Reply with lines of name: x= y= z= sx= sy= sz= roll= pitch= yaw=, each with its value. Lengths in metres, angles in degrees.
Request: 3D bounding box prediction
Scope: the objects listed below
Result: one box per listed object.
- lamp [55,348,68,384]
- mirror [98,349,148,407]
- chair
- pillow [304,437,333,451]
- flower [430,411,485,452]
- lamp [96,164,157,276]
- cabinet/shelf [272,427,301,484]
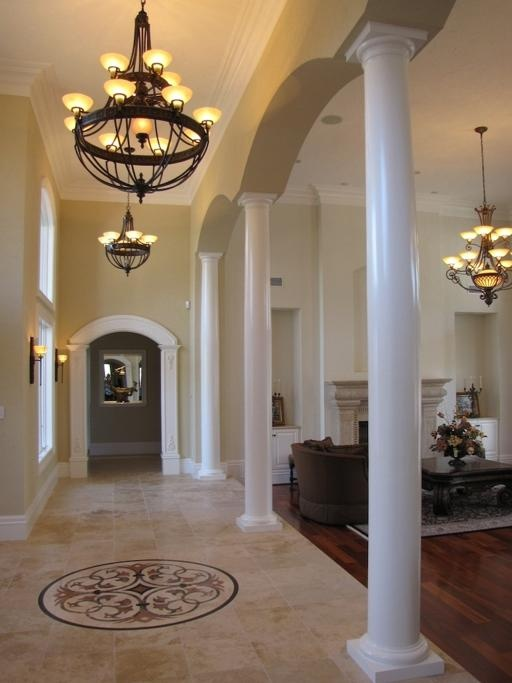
lamp: x=-3.249 y=0.401 z=8.990 sx=0.190 sy=0.588 sz=0.581 roll=0 pitch=2 yaw=-10
mirror: x=-3.023 y=0.776 z=12.033 sx=1.236 sy=1.547 sz=0.115 roll=-1 pitch=5 yaw=-5
chair: x=0.910 y=1.745 z=6.666 sx=0.847 sy=0.854 sz=0.944 roll=2 pitch=-5 yaw=-20
pillow: x=0.794 y=1.349 z=6.999 sx=0.266 sy=0.087 sz=0.258 roll=0 pitch=-2 yaw=30
flower: x=2.814 y=1.309 z=7.465 sx=0.678 sy=0.655 sz=0.729 roll=1 pitch=-8 yaw=-24
lamp: x=-1.767 y=-1.534 z=7.497 sx=0.690 sy=1.192 sz=0.683 roll=1 pitch=-1 yaw=-9
cabinet/shelf: x=0.375 y=1.921 z=9.562 sx=0.553 sy=0.863 sz=0.493 roll=4 pitch=0 yaw=-39
